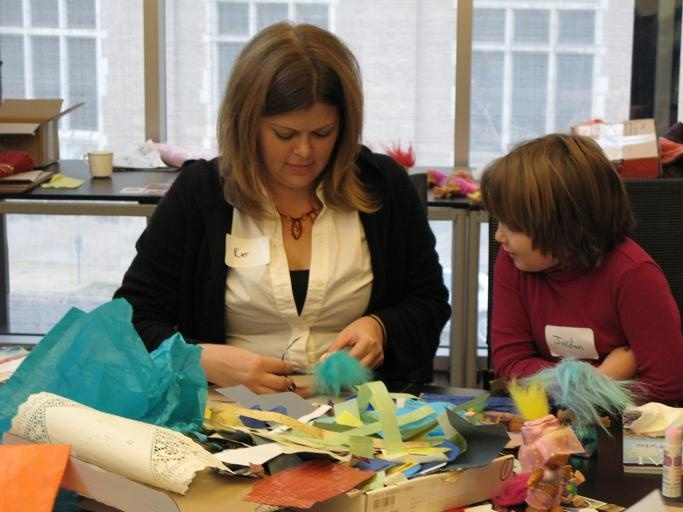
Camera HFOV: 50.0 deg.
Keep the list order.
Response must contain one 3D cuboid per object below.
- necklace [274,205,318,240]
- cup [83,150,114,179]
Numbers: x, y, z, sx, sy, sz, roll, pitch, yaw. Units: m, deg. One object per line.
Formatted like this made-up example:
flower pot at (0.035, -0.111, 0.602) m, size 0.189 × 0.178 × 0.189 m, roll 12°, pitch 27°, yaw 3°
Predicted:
necklace at (-0.121, -0.080, 1.901) m, size 0.093 × 0.089 × 0.010 m, roll 4°, pitch -29°, yaw -8°
cup at (-1.032, -0.384, 3.156) m, size 0.104 × 0.108 × 0.132 m, roll -2°, pitch -1°, yaw 43°
